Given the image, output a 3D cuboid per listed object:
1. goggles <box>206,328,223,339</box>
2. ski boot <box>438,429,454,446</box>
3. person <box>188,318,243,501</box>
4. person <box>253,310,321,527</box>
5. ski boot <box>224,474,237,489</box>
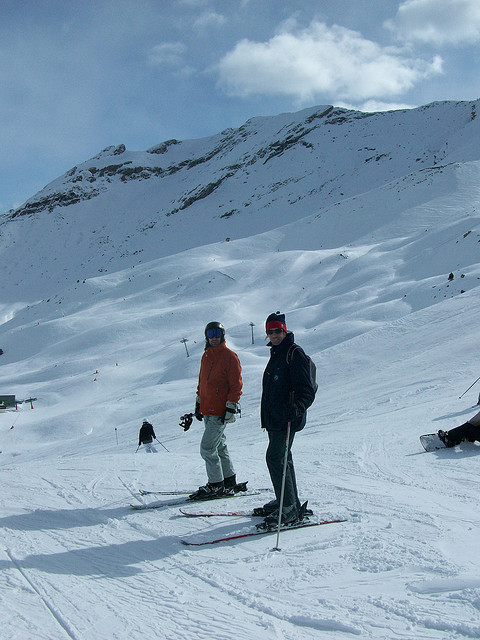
[{"bbox_3d":[-0.315,0.165,10.401,0.206,0.138,0.111,-2,8,-3],"label":"goggles"},{"bbox_3d":[3.104,1.767,12.432,0.191,0.216,0.081,-36,-10,1],"label":"ski boot"},{"bbox_3d":[-0.313,1.159,10.350,0.686,2.221,0.742,-2,8,-1],"label":"person"},{"bbox_3d":[0.510,1.117,9.348,0.739,2.369,0.891,-3,8,-5],"label":"person"},{"bbox_3d":[-0.130,2.064,10.581,0.192,0.211,0.150,-6,2,-8],"label":"ski boot"}]
